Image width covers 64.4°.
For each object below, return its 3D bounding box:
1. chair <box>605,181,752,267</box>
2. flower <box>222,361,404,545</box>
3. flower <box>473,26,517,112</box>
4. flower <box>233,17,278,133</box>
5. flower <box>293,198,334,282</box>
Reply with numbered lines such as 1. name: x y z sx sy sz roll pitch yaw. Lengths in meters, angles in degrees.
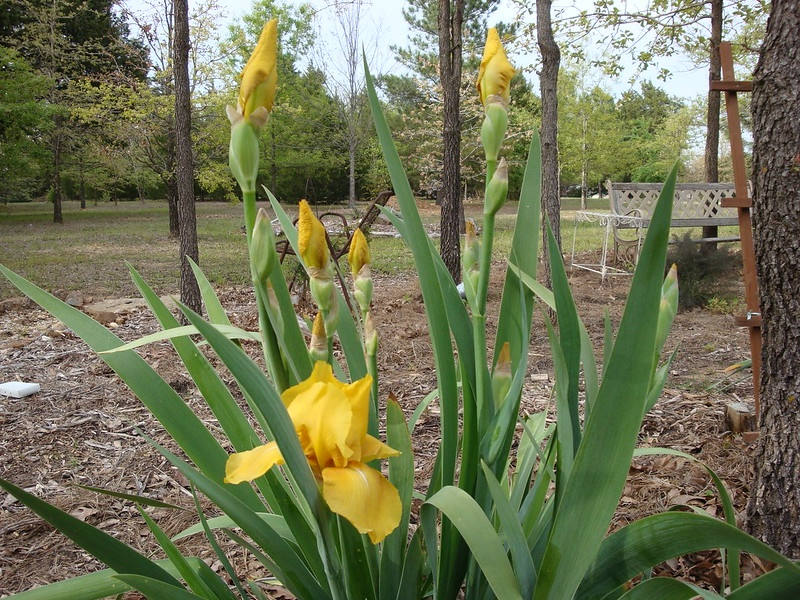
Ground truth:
1. chair: 3.856 -1.098 9.093 1.662 1.151 2.722 5 14 26
2. flower: -0.188 0.373 1.550 0.409 0.258 0.396 23 35 22
3. flower: 0.257 -0.636 1.718 0.103 0.215 0.308 1 12 9
4. flower: -0.360 -0.573 1.599 0.108 0.268 0.161 -4 12 -13
5. flower: -0.232 -0.167 1.685 0.083 0.197 0.157 -3 12 -10
